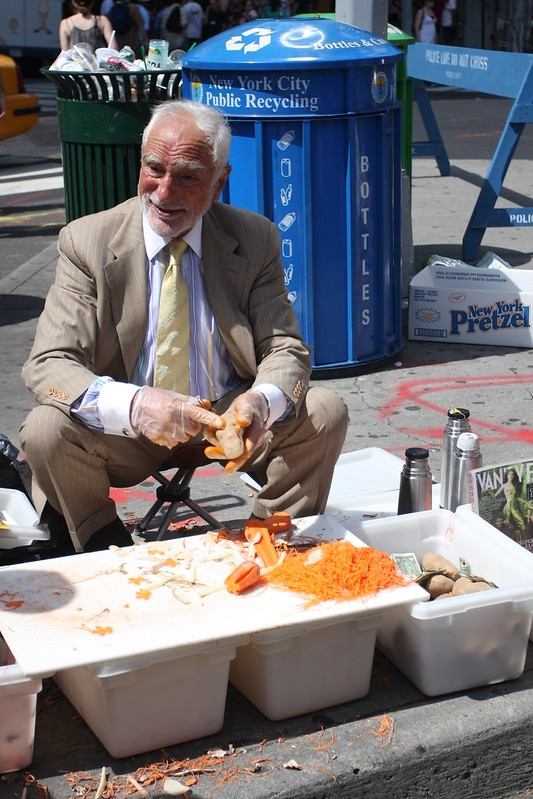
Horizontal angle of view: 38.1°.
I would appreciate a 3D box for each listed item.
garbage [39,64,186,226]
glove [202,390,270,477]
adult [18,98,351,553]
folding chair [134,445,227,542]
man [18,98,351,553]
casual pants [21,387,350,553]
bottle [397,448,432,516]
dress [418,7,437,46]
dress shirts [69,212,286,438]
[{"bbox_3d":[-0.753,-1.397,4.488,0.842,1.127,0.903,5,19,11],"label":"garbage"},{"bbox_3d":[-0.081,0.086,2.156,0.133,0.123,0.238,-36,26,27],"label":"glove"},{"bbox_3d":[-0.236,-0.203,2.242,0.934,1.349,0.609,-2,9,-18],"label":"adult"},{"bbox_3d":[-0.318,0.316,2.687,0.256,0.303,0.238,-12,-3,-8],"label":"folding chair"},{"bbox_3d":[-0.270,-0.152,2.374,0.941,1.316,0.951,-10,24,-25],"label":"man"},{"bbox_3d":[-0.217,0.196,2.265,0.743,0.383,0.545,-3,19,-15],"label":"casual pants"},{"bbox_3d":[0.470,0.267,2.450,0.095,0.213,0.220,1,8,4],"label":"bottle"},{"bbox_3d":[3.643,-8.541,17.593,0.363,1.083,1.021,2,8,11],"label":"dress"},{"bbox_3d":[-0.285,-0.208,2.275,0.608,0.606,0.390,-2,19,-22],"label":"dress shirts"}]
